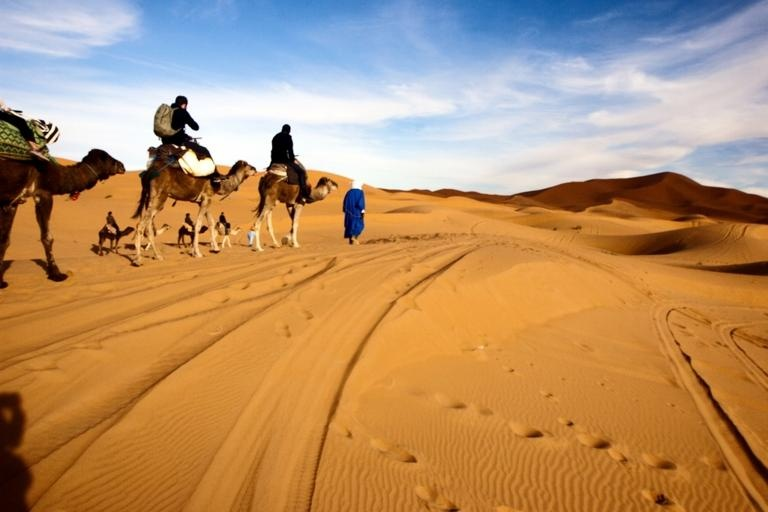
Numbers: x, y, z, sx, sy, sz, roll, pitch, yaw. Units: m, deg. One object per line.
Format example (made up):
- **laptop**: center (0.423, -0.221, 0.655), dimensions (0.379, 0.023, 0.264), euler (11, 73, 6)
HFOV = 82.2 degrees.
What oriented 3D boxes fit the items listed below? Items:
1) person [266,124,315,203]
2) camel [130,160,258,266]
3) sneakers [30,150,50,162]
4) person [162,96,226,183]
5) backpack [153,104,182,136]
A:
- **person**: center (-2.592, -2.666, 12.873), dimensions (1.279, 2.191, 0.879), euler (5, 16, -16)
- **camel**: center (-4.862, -1.176, 11.317), dimensions (2.402, 2.687, 3.194), euler (3, 13, -18)
- **sneakers**: center (-5.973, -1.775, 7.791), dimensions (0.181, 0.178, 0.234), euler (5, 12, -11)
- **person**: center (-4.532, -2.951, 10.380), dimensions (0.982, 1.469, 0.474), euler (4, 17, -17)
- **backpack**: center (-4.882, -3.082, 10.151), dimensions (0.513, 0.705, 0.272), euler (0, 18, -28)
